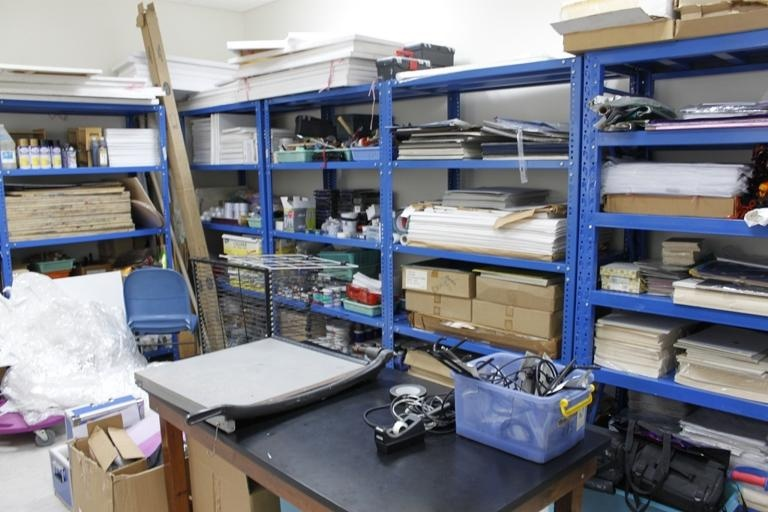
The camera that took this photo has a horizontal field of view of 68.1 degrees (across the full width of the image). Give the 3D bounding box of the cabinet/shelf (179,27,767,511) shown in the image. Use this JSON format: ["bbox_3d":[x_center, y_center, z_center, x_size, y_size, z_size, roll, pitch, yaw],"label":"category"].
[{"bbox_3d":[0.521,0.033,2.760,0.502,1.515,2.870,-2,6,-45],"label":"cabinet/shelf"}]

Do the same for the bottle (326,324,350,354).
[{"bbox_3d":[-0.314,0.551,3.830,0.153,0.176,0.255,0,2,-9],"label":"bottle"}]

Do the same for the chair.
[{"bbox_3d":[-1.558,0.407,3.953,0.565,0.729,0.546,-6,21,-19],"label":"chair"}]
